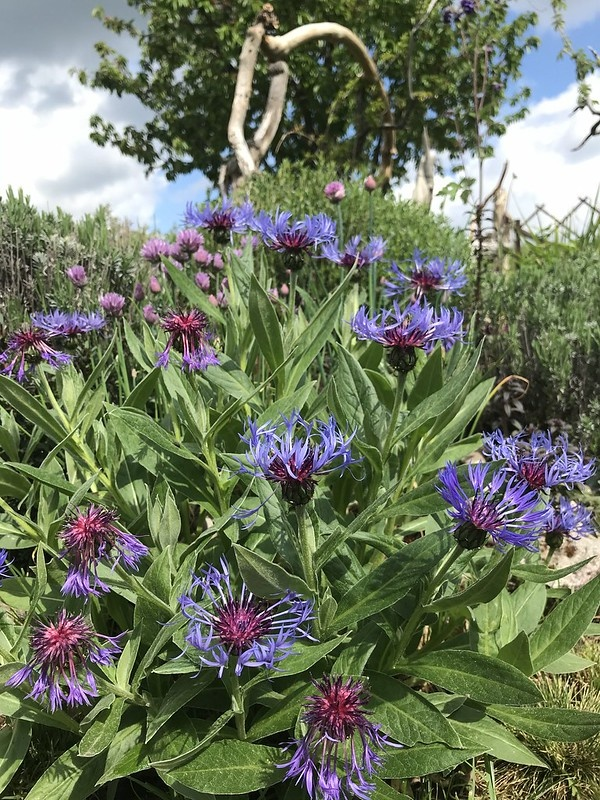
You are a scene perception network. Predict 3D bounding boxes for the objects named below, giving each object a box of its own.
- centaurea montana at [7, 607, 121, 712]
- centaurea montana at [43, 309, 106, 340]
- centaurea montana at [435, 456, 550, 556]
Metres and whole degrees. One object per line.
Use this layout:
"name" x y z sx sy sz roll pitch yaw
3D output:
"centaurea montana" -0.483 0.527 1.726 0.257 0.249 0.251 -4 -8 -12
"centaurea montana" -0.697 -0.228 2.450 0.153 0.076 0.160 -2 13 0
"centaurea montana" 0.399 0.216 1.636 0.238 0.134 0.243 33 28 11
